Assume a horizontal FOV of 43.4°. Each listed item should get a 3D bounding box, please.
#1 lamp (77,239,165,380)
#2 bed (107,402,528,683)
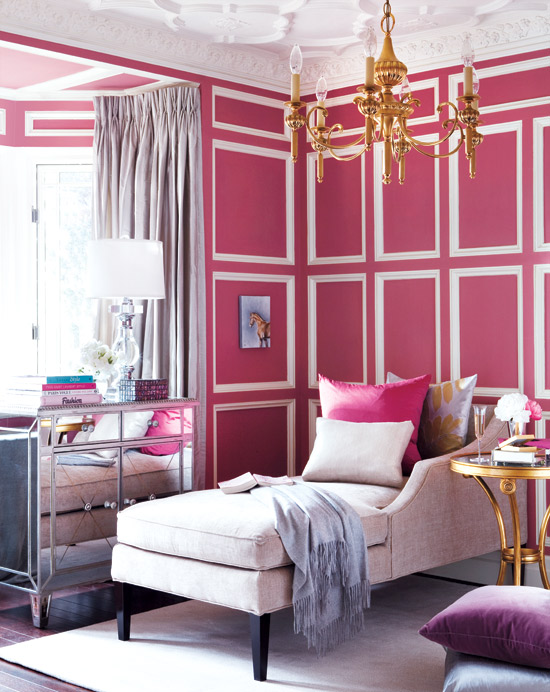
[{"bbox_3d":[-0.798,-0.210,3.667,0.397,0.801,0.599,0,-6,-10],"label":"lamp"},{"bbox_3d":[0.228,0.718,3.031,1.495,0.796,0.854,6,-8,-44],"label":"bed"}]
